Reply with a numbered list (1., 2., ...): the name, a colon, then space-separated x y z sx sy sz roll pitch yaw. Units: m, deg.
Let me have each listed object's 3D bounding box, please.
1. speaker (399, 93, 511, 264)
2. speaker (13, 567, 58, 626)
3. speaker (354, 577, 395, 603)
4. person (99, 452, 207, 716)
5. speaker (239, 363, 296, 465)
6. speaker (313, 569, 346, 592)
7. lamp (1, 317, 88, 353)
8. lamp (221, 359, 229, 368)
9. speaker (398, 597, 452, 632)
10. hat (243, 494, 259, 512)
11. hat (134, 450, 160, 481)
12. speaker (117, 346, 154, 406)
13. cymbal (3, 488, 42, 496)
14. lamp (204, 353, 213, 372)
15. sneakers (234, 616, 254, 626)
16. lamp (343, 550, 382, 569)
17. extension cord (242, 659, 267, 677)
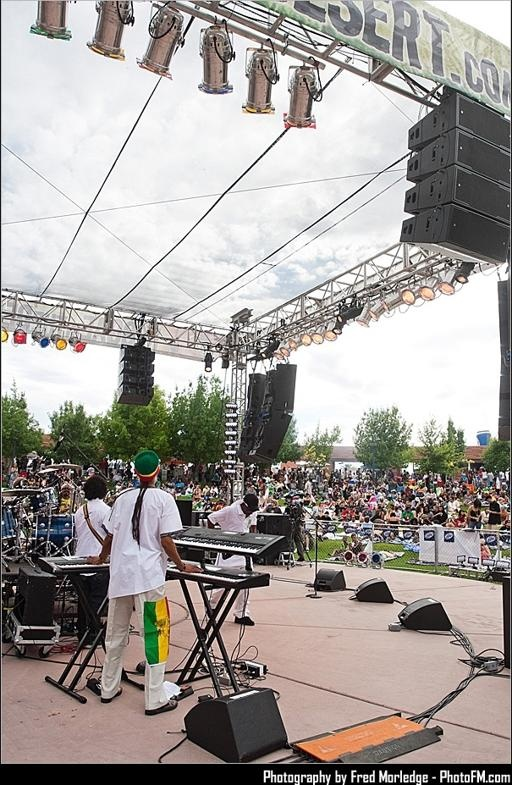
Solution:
1. speaker: 1.554 -1.593 4.543 0.781 1.150 0.479 4 -4 0
2. speaker: -1.821 1.704 5.012 0.301 0.500 0.670 5 -4 -20
3. speaker: 1.521 2.582 7.876 0.330 0.200 0.330 11 -15 0
4. person: -0.713 1.187 3.854 0.440 1.604 0.620 7 -5 -40
5. speaker: 0.253 0.441 12.294 0.535 2.074 1.464 6 -4 -24
6. speaker: 1.048 2.750 8.843 0.363 0.311 0.365 -10 -38 46
7. lamp: -4.409 -1.141 12.636 1.753 0.324 0.366 7 -5 -38
8. lamp: -0.739 -0.679 14.550 0.169 0.227 0.140 4 -4 1
9. speaker: 1.736 2.312 6.298 0.432 0.249 0.314 4 -11 1
10. hat: -0.056 1.135 6.130 0.139 0.103 0.189 2 16 -20
11. hat: -0.695 0.479 3.950 0.158 0.199 0.076 -3 -8 -1
12. speaker: -2.609 -0.398 13.314 0.763 1.318 0.447 5 -4 -17
13. cymbal: -2.512 1.080 6.518 0.215 0.052 0.216 0 -6 11
14. lamp: -1.110 -0.693 14.117 0.221 0.503 0.697 4 -4 -4
15. sneakers: -0.112 2.383 6.309 0.234 0.098 0.085 -5 -8 25
16. lamp: 2.104 3.271 11.753 0.544 0.228 0.519 3 -14 23
17. extension cord: -0.014 2.011 4.360 0.175 0.140 0.238 4 -4 0
